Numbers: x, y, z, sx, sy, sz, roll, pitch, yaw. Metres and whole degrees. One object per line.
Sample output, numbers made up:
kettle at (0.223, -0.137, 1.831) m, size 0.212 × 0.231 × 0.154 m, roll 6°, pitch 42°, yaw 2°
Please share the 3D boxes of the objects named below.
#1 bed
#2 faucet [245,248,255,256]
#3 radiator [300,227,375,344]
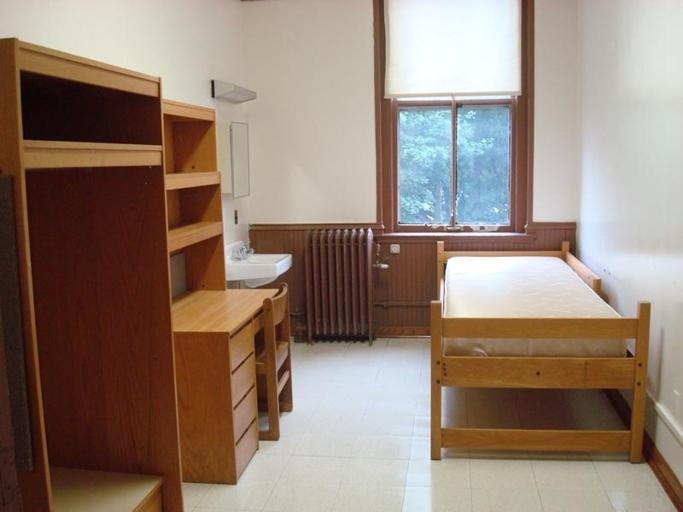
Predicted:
bed at (1.297, 0.623, 4.111) m, size 0.806 × 0.697 × 1.664 m, roll 0°, pitch 9°, yaw 8°
faucet at (-0.881, -0.041, 5.499) m, size 0.074 × 0.079 × 0.043 m, roll 5°, pitch -5°, yaw -37°
radiator at (-0.030, 0.284, 5.489) m, size 0.676 × 1.071 × 0.324 m, roll -1°, pitch 11°, yaw 4°
